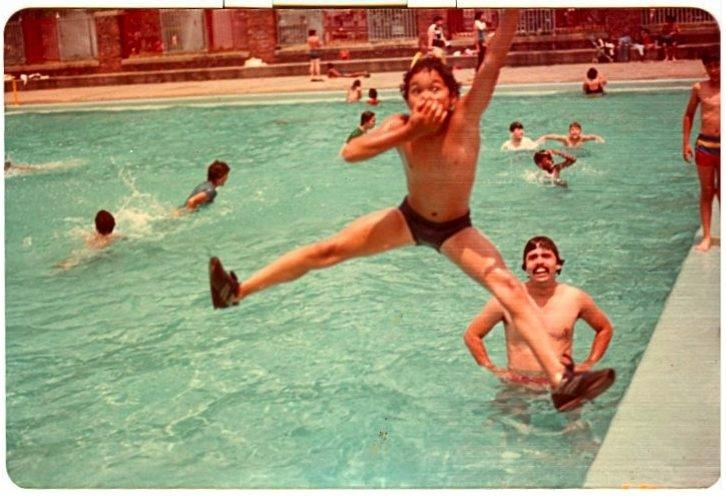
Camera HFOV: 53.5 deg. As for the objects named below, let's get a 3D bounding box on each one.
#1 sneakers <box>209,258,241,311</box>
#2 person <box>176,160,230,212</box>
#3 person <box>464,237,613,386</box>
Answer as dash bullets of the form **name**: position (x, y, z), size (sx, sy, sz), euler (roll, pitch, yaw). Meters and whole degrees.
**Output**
- **sneakers**: position (-1.055, 0.290, 5.350), size (0.217, 0.467, 0.162), euler (-21, 48, -24)
- **person**: position (-1.966, -0.649, 9.071), size (0.337, 0.374, 1.016), euler (-8, 37, 26)
- **person**: position (1.278, 0.504, 5.406), size (1.251, 1.052, 0.522), euler (-1, 8, -8)
